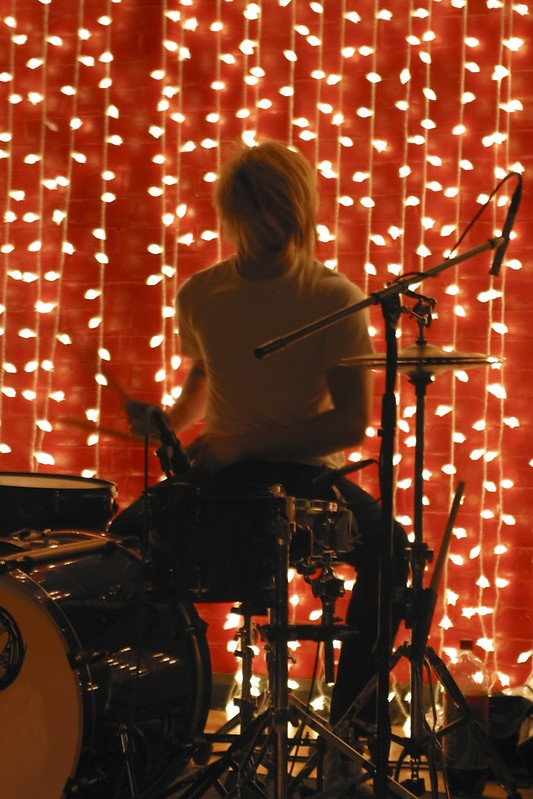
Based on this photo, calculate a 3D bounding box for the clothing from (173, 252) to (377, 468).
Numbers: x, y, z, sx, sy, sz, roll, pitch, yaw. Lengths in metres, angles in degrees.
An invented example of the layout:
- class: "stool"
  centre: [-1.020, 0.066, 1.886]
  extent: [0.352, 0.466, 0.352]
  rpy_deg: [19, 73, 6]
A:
- class: "clothing"
  centre: [0.014, -0.098, 2.804]
  extent: [0.562, 0.516, 0.271]
  rpy_deg: [4, 15, 22]

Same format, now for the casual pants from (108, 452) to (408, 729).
- class: "casual pants"
  centre: [-0.029, 0.428, 2.548]
  extent: [0.646, 0.159, 0.608]
  rpy_deg: [2, 17, 2]
